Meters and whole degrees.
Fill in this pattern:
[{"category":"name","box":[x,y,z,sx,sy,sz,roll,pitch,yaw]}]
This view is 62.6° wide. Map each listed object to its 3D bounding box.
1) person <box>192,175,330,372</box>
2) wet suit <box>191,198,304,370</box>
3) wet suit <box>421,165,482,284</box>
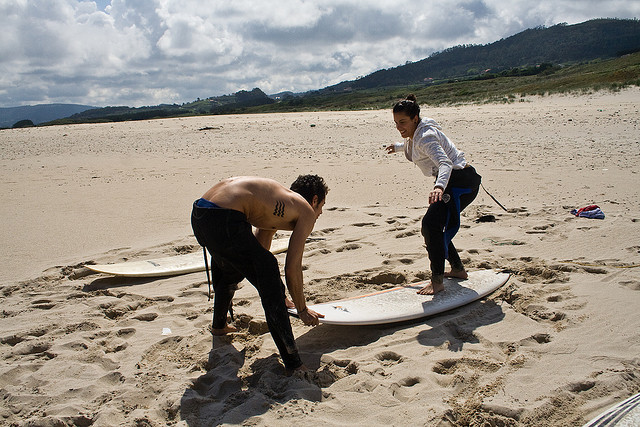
[{"category":"person","box":[-0.746,0.674,6.327,1.385,2.246,0.775,1,19,31]},{"category":"wet suit","box":[-0.879,0.908,6.398,1.420,2.220,0.859,23,46,40]},{"category":"wet suit","box":[1.813,0.167,7.302,0.912,1.531,0.212,-19,19,-31]}]
